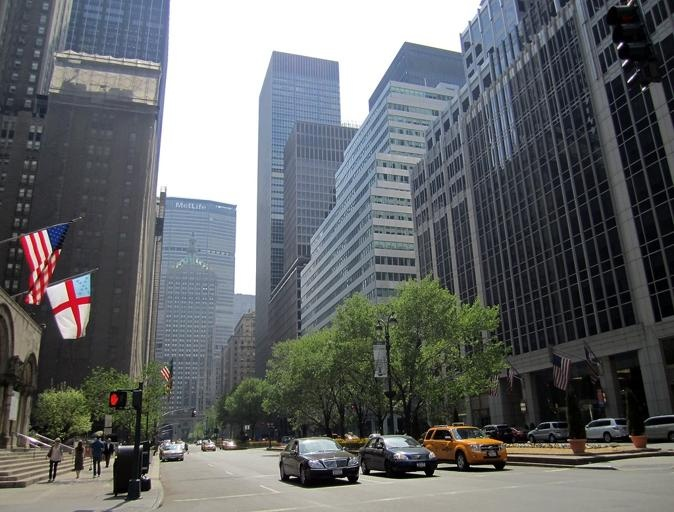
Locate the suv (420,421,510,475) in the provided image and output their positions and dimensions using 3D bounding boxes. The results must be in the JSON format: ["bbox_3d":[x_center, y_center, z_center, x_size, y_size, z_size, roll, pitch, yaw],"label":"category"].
[{"bbox_3d":[6.788,10.346,29.723,2.382,2.716,5.322,5,-19,-20],"label":"suv"}]

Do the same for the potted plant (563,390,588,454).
[{"bbox_3d":[13.376,9.233,30.510,0.756,3.487,0.974,-9,-18,30],"label":"potted plant"}]

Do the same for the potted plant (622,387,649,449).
[{"bbox_3d":[17.434,9.442,31.784,0.871,3.340,2.615,-8,-19,28],"label":"potted plant"}]

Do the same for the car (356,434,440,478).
[{"bbox_3d":[3.047,10.470,28.670,2.380,2.142,6.039,5,-21,-16],"label":"car"}]
